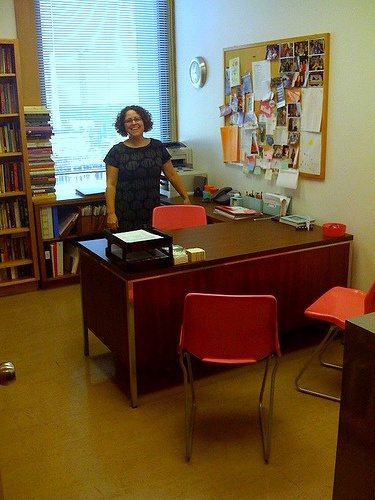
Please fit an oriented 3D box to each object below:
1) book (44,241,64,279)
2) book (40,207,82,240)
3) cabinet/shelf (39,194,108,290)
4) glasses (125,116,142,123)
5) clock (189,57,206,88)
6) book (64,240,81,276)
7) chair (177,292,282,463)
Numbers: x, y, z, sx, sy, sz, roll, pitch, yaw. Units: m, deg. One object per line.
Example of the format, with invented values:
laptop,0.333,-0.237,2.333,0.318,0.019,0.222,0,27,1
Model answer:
book,-1.376,0.109,4.053,0.181,0.312,0.316,-1,15,-14
book,-1.326,-0.312,4.135,0.404,0.308,0.403,-1,19,-1
cabinet/shelf,-1.199,-0.132,4.221,0.833,0.813,0.270,-12,11,-39
glasses,-0.440,-1.052,3.175,0.122,0.052,0.032,-2,11,-5
clock,0.112,-1.958,4.380,0.061,0.331,0.376,-5,12,-21
book,-1.234,0.092,4.179,0.142,0.414,0.317,3,1,-39
chair,0.197,0.528,1.865,0.468,0.809,0.484,0,11,5
